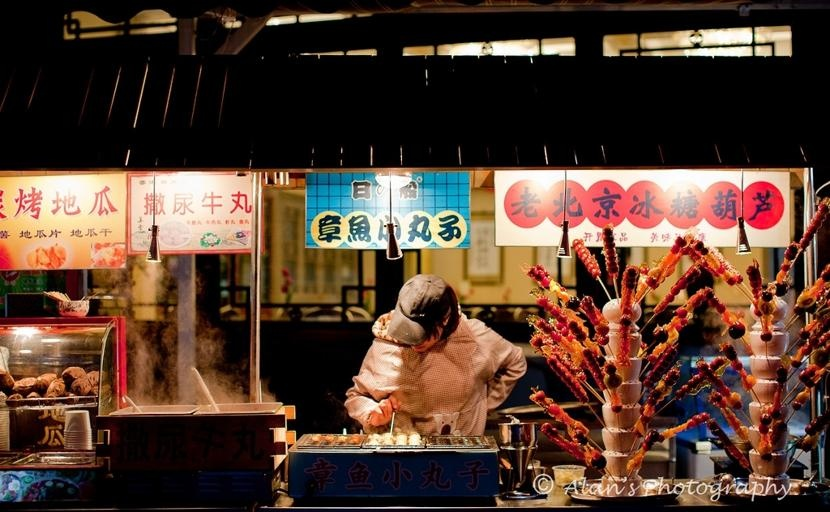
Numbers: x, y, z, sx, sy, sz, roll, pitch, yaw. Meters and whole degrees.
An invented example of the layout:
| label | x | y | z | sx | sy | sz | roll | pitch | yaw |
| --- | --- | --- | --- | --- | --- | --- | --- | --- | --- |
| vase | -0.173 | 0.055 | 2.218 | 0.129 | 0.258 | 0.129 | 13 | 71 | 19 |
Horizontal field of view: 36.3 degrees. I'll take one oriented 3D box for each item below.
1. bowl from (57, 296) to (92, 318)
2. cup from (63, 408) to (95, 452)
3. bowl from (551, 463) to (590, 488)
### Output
| label | x | y | z | sx | sy | sz | roll | pitch | yaw |
| --- | --- | --- | --- | --- | --- | --- | --- | --- | --- |
| bowl | -3.893 | 0.596 | 14.544 | 0.286 | 0.151 | 0.248 | 1 | -4 | 14 |
| cup | -3.705 | 1.938 | 13.981 | 0.443 | 0.489 | 0.418 | 1 | -3 | 0 |
| bowl | 1.648 | 2.339 | 13.525 | 0.284 | 0.121 | 0.266 | 1 | -2 | 0 |
